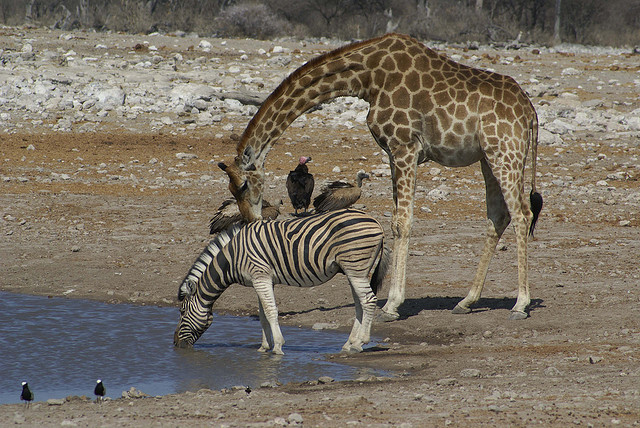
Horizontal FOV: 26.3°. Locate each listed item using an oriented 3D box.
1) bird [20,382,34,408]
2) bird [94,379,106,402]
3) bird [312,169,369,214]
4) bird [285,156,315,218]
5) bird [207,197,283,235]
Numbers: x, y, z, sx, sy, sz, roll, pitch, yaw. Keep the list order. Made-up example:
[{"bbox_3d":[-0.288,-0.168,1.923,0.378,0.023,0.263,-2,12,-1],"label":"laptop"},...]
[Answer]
[{"bbox_3d":[-5.400,3.334,25.542,0.230,0.437,0.424,1,12,-12],"label":"bird"},{"bbox_3d":[-4.076,3.279,25.600,0.187,0.367,0.249,1,12,-12],"label":"bird"},{"bbox_3d":[0.443,-0.431,27.642,1.278,0.722,0.546,-8,10,-8],"label":"bird"},{"bbox_3d":[-0.408,-0.603,29.665,0.580,1.265,0.784,1,13,8],"label":"bird"},{"bbox_3d":[-1.409,0.048,27.988,1.573,0.969,0.619,0,16,-20],"label":"bird"}]
